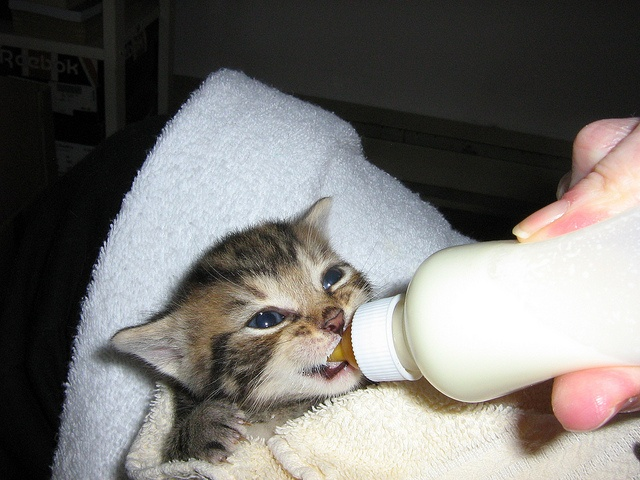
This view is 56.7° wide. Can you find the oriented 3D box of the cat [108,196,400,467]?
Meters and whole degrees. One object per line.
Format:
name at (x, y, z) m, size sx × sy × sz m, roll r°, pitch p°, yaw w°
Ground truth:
cat at (-0.058, 0.095, 0.705) m, size 0.245 × 0.185 × 0.342 m, roll 18°, pitch 42°, yaw 31°
